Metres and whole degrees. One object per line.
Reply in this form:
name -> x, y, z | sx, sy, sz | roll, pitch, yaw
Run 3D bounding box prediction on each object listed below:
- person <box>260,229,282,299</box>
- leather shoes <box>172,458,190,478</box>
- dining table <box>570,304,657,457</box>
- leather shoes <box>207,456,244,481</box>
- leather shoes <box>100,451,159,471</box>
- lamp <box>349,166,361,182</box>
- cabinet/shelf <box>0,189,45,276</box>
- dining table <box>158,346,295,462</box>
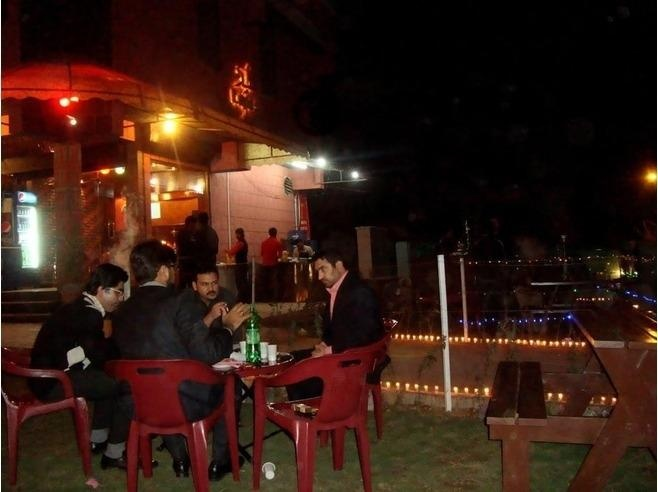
person -> -1.437, 0.438, 13.617 | 0.446, 1.262, 1.262 | 2, -2, -7
leather shoes -> -1.579, 2.404, 5.938 | 0.090, 0.195, 0.279 | 0, 0, -7
dining table -> 2.845, 1.371, 5.461 | 0.406, 0.586, 1.589 | -1, 4, 17
leather shoes -> -1.091, 2.356, 5.884 | 0.133, 0.148, 0.365 | 4, 10, 31
leather shoes -> -2.210, 2.372, 6.201 | 0.648, 0.287, 0.225 | -1, 1, -4
lamp -> 1.146, -3.094, 24.132 | 0.501, 0.504, 0.507 | 0, 12, -2
cabinet/shelf -> -8.783, -0.430, 15.751 | 0.522, 2.261, 1.299 | 2, -1, 19
dining table -> -0.920, 1.643, 6.409 | 1.417, 1.114, 1.356 | 0, 4, 1
